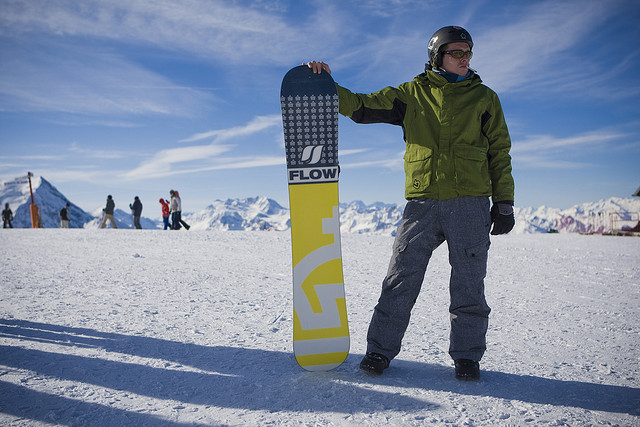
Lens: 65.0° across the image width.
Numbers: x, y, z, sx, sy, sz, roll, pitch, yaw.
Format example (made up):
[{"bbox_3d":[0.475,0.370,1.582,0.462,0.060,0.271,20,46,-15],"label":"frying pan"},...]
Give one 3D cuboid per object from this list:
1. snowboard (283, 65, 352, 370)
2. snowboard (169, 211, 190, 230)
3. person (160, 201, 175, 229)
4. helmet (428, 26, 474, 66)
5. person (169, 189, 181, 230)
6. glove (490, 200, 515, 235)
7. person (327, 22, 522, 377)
[{"bbox_3d":[-0.067,0.038,5.238,0.660,2.963,0.358,-3,-3,-6],"label":"snowboard"},{"bbox_3d":[-5.033,0.274,18.268,0.129,0.715,0.194,-11,36,27],"label":"snowboard"},{"bbox_3d":[-5.217,0.030,17.208,0.296,1.055,0.191,-9,14,-36],"label":"person"},{"bbox_3d":[1.347,-1.702,5.101,0.382,0.393,0.488,-6,0,-18],"label":"helmet"},{"bbox_3d":[-5.235,-0.132,18.151,0.349,1.295,0.672,-1,11,-16],"label":"person"},{"bbox_3d":[1.802,0.031,4.902,0.340,0.310,0.111,7,-1,-24],"label":"glove"},{"bbox_3d":[1.139,-0.165,4.867,1.534,3.259,0.907,3,11,4],"label":"person"}]
